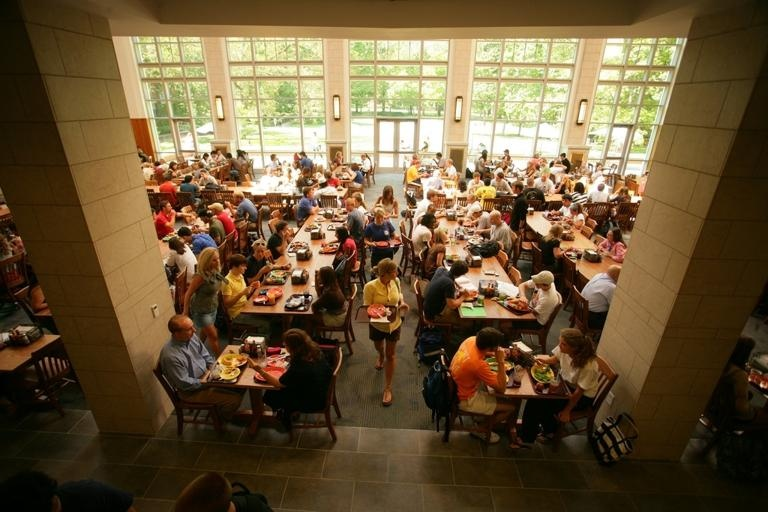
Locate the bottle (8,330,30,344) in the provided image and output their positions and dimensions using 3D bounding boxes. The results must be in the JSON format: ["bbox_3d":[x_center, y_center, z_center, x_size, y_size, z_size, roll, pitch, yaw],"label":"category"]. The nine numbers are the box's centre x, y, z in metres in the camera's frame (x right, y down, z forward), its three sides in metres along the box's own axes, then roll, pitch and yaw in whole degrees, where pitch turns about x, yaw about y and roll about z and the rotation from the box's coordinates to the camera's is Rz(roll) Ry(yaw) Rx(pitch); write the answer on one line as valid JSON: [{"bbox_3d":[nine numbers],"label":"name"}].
[{"bbox_3d":[-5.110,1.135,6.523,0.207,0.183,0.047,6,-5,-4],"label":"bottle"}]

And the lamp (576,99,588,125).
[{"bbox_3d":[6.957,-5.081,16.496,0.345,0.899,0.130,2,22,6],"label":"lamp"}]

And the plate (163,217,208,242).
[{"bbox_3d":[-4.187,-0.631,10.081,0.764,0.175,0.686,-3,29,-10],"label":"plate"}]

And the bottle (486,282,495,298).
[{"bbox_3d":[1.724,0.576,7.577,0.134,0.177,0.175,2,0,6],"label":"bottle"}]

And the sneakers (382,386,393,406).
[{"bbox_3d":[0.050,2.119,6.997,0.109,0.186,0.313,1,12,5],"label":"sneakers"}]

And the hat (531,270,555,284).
[{"bbox_3d":[2.457,0.333,7.267,0.297,0.163,0.188,12,47,3],"label":"hat"}]

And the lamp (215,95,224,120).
[{"bbox_3d":[-6.043,-5.470,17.258,0.321,0.905,0.118,-7,23,-16],"label":"lamp"}]

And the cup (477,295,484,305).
[{"bbox_3d":[1.533,0.709,7.471,0.111,0.121,0.115,-3,20,1],"label":"cup"}]

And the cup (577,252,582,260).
[{"bbox_3d":[3.683,0.003,8.844,0.077,0.085,0.207,-4,13,17],"label":"cup"}]

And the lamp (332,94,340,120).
[{"bbox_3d":[-1.741,-5.430,17.135,0.325,0.904,0.136,-1,22,-3],"label":"lamp"}]

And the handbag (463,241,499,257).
[{"bbox_3d":[1.851,-0.122,8.781,0.400,0.160,0.384,-7,7,-31],"label":"handbag"}]

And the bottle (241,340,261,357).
[{"bbox_3d":[-1.842,1.302,6.534,0.131,0.372,0.125,-1,25,0],"label":"bottle"}]

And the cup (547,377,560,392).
[{"bbox_3d":[2.241,1.730,6.252,0.161,0.165,0.166,-1,18,0],"label":"cup"}]

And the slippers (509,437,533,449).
[{"bbox_3d":[1.893,2.616,6.534,0.339,0.125,0.096,1,-4,10],"label":"slippers"}]

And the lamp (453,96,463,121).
[{"bbox_3d":[2.674,-5.292,16.788,0.319,0.885,0.157,1,22,3],"label":"lamp"}]

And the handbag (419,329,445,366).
[{"bbox_3d":[0.748,1.554,7.790,0.395,0.523,0.503,3,33,0],"label":"handbag"}]

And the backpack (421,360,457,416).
[{"bbox_3d":[0.900,1.918,6.543,0.477,0.772,0.593,-3,5,33],"label":"backpack"}]

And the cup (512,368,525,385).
[{"bbox_3d":[1.799,1.618,6.321,0.149,0.222,0.231,2,25,2],"label":"cup"}]

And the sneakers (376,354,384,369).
[{"bbox_3d":[-0.066,1.734,7.535,0.085,0.175,0.256,1,9,4],"label":"sneakers"}]
